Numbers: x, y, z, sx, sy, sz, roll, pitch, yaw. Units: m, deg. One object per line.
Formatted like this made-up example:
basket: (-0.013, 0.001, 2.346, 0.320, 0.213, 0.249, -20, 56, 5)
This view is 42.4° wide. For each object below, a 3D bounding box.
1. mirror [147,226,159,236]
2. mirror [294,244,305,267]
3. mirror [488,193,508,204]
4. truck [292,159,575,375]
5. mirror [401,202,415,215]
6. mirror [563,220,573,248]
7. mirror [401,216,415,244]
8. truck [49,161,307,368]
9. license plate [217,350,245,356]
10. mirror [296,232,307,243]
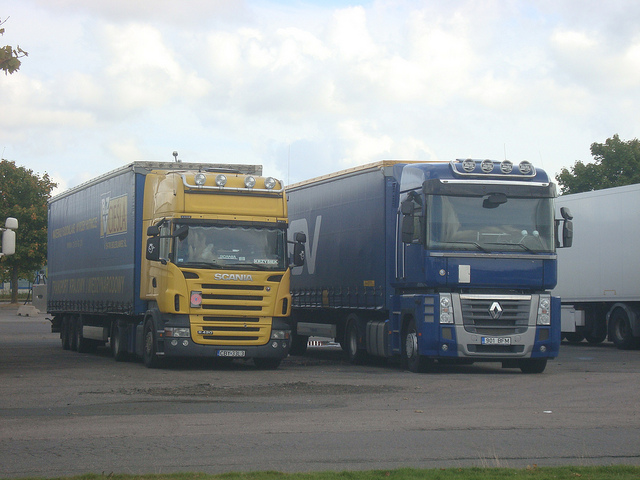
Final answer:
mirror: (-3.829, -0.195, 19.011, 0.270, 0.300, 0.173, -1, -15, -2)
mirror: (-0.510, 0.373, 19.973, 0.224, 0.525, 0.343, 1, -4, -10)
mirror: (3.974, -0.912, 18.518, 0.305, 0.255, 0.089, 3, -3, -8)
truck: (1.841, 0.703, 24.160, 3.538, 5.278, 12.225, 1, -3, -22)
mirror: (1.974, -0.706, 18.620, 0.191, 0.324, 0.285, 1, 1, -13)
mirror: (5.818, -0.138, 19.477, 0.196, 0.595, 0.451, 0, -4, 13)
mirror: (2.001, -0.223, 18.720, 0.271, 0.600, 0.253, 0, -4, 7)
truck: (-4.895, 0.772, 24.306, 3.552, 5.374, 11.093, 2, -4, -31)
license plate: (-2.061, 2.638, 19.160, 0.637, 0.138, 0.074, 2, -4, -23)
mirror: (-0.470, -0.052, 20.195, 0.189, 0.243, 0.230, -4, 6, 5)
